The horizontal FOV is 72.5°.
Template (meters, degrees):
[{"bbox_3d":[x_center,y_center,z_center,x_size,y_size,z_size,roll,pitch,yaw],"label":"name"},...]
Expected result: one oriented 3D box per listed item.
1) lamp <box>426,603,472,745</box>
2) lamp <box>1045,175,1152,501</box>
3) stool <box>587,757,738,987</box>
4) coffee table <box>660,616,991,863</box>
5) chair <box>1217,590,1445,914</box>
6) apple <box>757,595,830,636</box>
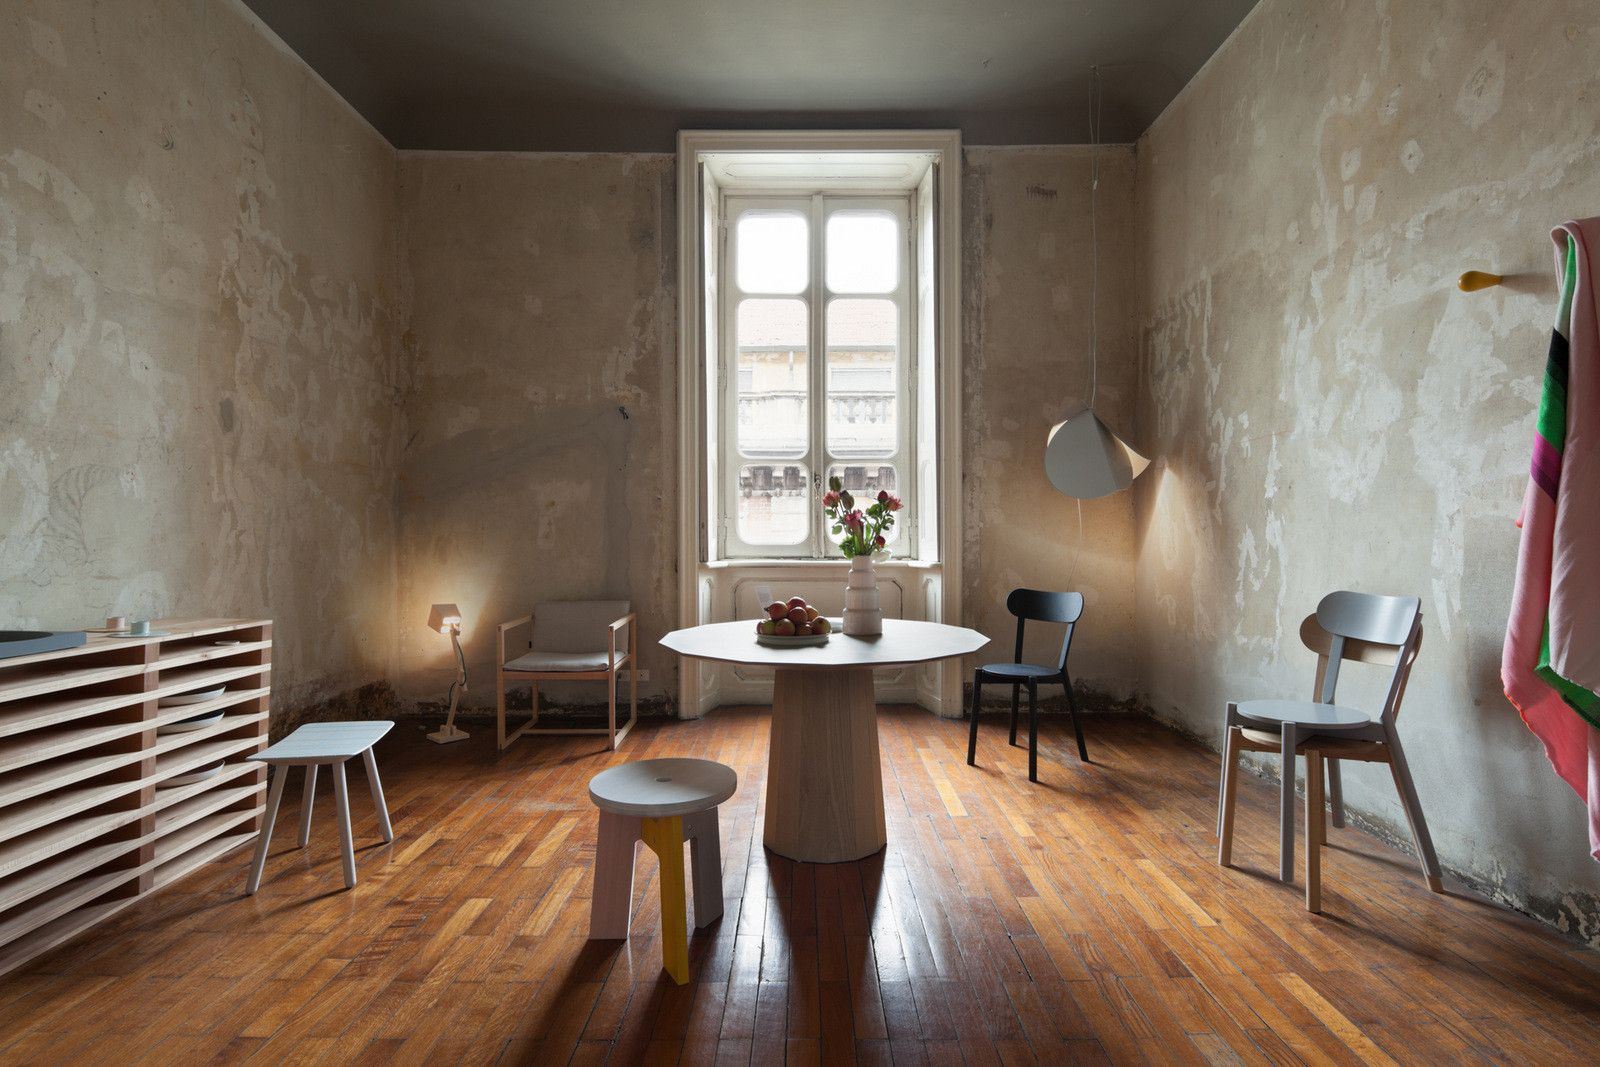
[{"bbox_3d":[-2.133,0.809,6.558,0.221,0.814,0.687,-4,13,-14],"label":"lamp"},{"bbox_3d":[1.838,-0.978,6.692,0.599,1.633,0.620,10,17,38],"label":"lamp"},{"bbox_3d":[-0.574,1.292,4.362,0.665,0.744,0.644,-2,4,-34],"label":"stool"},{"bbox_3d":[0.130,0.929,4.812,1.102,0.719,1.123,-1,1,-11],"label":"coffee table"},{"bbox_3d":[2.306,0.854,4.616,0.980,1.185,0.792,-12,18,-42],"label":"chair"},{"bbox_3d":[-0.021,0.393,4.983,0.193,0.107,0.201,3,-2,19],"label":"apple"}]
